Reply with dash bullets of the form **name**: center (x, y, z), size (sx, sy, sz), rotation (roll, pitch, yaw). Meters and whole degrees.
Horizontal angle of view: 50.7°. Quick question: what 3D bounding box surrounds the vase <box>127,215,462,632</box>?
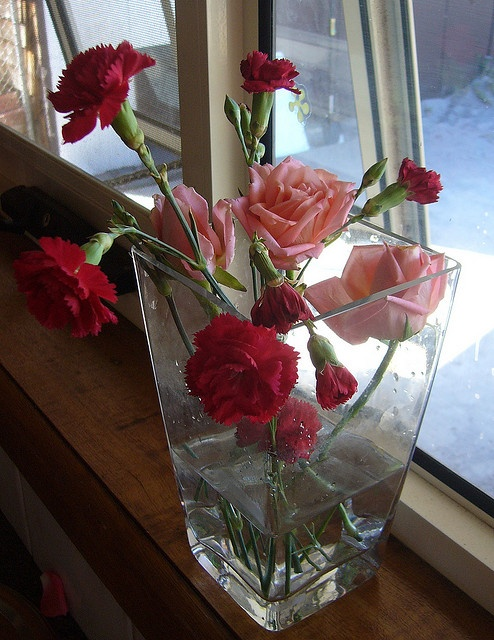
- **vase**: center (0.030, 0.094, 0.430), size (0.206, 0.272, 0.187), rotation (-6, 21, -15)

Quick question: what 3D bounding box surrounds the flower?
- **flower**: center (-0.032, -0.053, 0.464), size (0.309, 0.400, 0.317), rotation (-25, 35, -29)
